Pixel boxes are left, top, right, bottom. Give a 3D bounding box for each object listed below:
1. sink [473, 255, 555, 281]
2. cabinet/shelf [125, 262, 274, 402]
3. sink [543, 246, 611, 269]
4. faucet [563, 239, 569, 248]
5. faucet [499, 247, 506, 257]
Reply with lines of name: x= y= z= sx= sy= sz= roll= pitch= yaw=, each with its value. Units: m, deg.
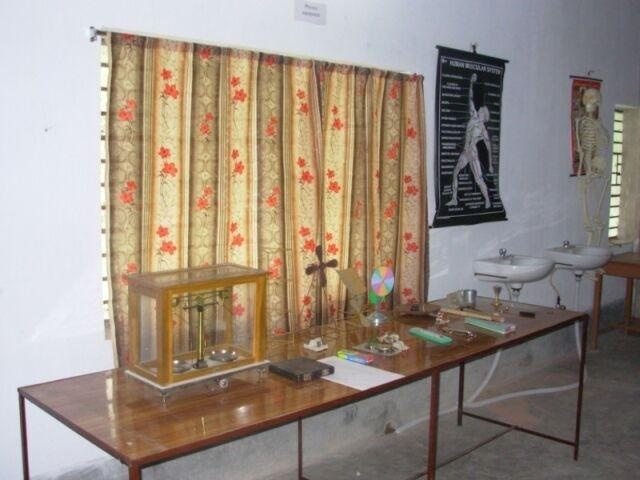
sink: x=1.497 y=0.222 z=4.381 sx=0.304 sy=0.130 sz=0.347 roll=5 pitch=8 yaw=41
cabinet/shelf: x=-0.564 y=0.330 z=2.685 sx=0.782 sy=0.617 sz=0.446 roll=-5 pitch=6 yaw=-42
sink: x=2.361 y=0.163 z=5.206 sx=0.385 sy=0.154 sz=0.408 roll=8 pitch=13 yaw=43
faucet: x=2.339 y=0.037 z=5.380 sx=0.061 sy=0.088 sz=0.069 roll=6 pitch=7 yaw=28
faucet: x=1.490 y=0.101 z=4.621 sx=0.067 sy=0.049 sz=0.088 roll=-18 pitch=-8 yaw=-1
